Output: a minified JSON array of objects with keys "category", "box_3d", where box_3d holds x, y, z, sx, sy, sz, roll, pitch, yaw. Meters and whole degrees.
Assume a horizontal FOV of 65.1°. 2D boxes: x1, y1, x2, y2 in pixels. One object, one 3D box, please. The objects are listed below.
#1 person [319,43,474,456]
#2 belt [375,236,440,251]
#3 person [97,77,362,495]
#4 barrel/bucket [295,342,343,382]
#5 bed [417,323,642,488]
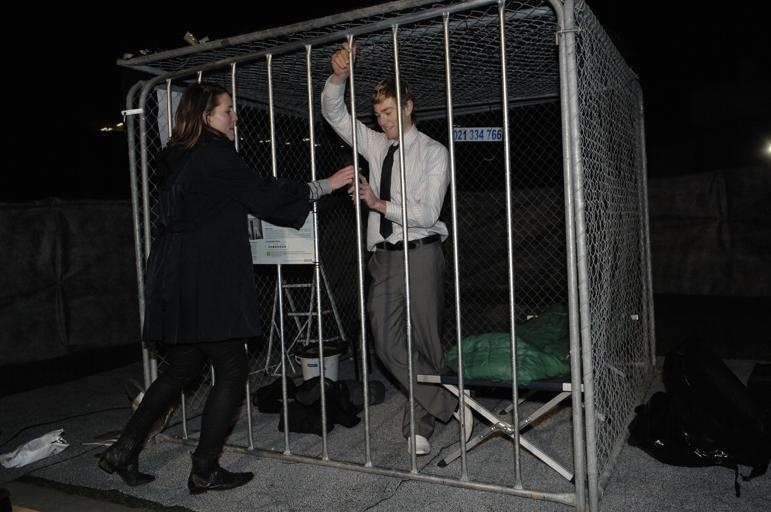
[{"category":"person","box_3d":[0.128,0.000,5.200,1.211,3.626,0.979,-1,2,41]},{"category":"belt","box_3d":[0.180,-0.102,4.898,0.525,0.117,0.134,-1,4,2]},{"category":"person","box_3d":[-1.315,0.245,4.546,1.503,3.046,0.485,0,4,10]},{"category":"barrel/bucket","box_3d":[-0.652,1.047,6.046,0.551,0.456,0.530,-2,-11,0]},{"category":"bed","box_3d":[1.048,0.959,4.623,1.310,0.676,1.318,0,0,18]}]
